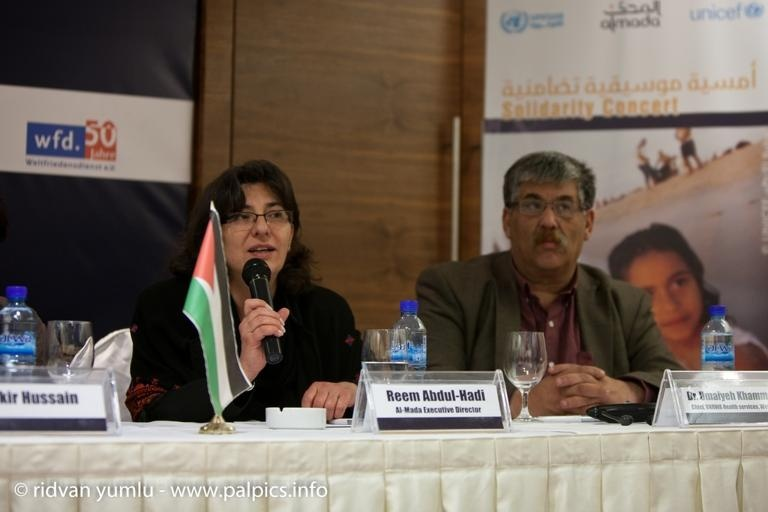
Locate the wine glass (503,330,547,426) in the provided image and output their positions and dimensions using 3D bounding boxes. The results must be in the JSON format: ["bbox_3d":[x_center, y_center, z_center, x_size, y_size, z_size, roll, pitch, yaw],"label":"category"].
[{"bbox_3d":[0.511,0.429,2.924,0.144,0.314,0.303,-3,-4,10],"label":"wine glass"}]

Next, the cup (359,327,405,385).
[{"bbox_3d":[-0.003,0.328,2.736,0.147,0.257,0.142,0,-1,0],"label":"cup"}]

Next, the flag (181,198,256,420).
[{"bbox_3d":[-0.534,0.164,2.501,0.120,0.648,0.244,-4,-4,29],"label":"flag"}]

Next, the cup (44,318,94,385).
[{"bbox_3d":[-1.244,0.357,3.197,0.167,0.256,0.176,5,12,-1],"label":"cup"}]

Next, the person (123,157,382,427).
[{"bbox_3d":[-0.599,0.225,3.506,0.829,0.984,1.216,4,-24,-17],"label":"person"}]
